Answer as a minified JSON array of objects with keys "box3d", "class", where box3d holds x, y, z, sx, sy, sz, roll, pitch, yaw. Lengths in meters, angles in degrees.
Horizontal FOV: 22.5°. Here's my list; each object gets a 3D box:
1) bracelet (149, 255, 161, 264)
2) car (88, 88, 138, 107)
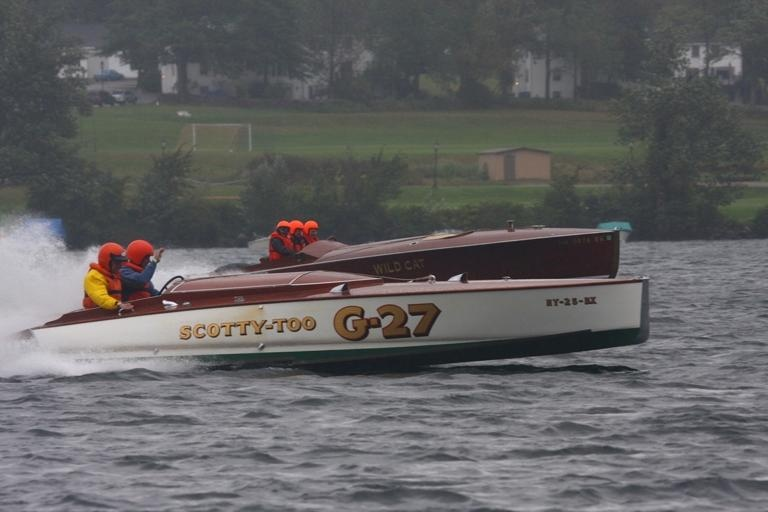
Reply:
[{"box3d":[-10.273,0.143,87.015,0.337,0.198,0.384,-4,22,-16],"class":"bracelet"},{"box3d":[-20.486,-12.046,146.736,3.280,0.963,7.299,0,8,8],"class":"car"}]
